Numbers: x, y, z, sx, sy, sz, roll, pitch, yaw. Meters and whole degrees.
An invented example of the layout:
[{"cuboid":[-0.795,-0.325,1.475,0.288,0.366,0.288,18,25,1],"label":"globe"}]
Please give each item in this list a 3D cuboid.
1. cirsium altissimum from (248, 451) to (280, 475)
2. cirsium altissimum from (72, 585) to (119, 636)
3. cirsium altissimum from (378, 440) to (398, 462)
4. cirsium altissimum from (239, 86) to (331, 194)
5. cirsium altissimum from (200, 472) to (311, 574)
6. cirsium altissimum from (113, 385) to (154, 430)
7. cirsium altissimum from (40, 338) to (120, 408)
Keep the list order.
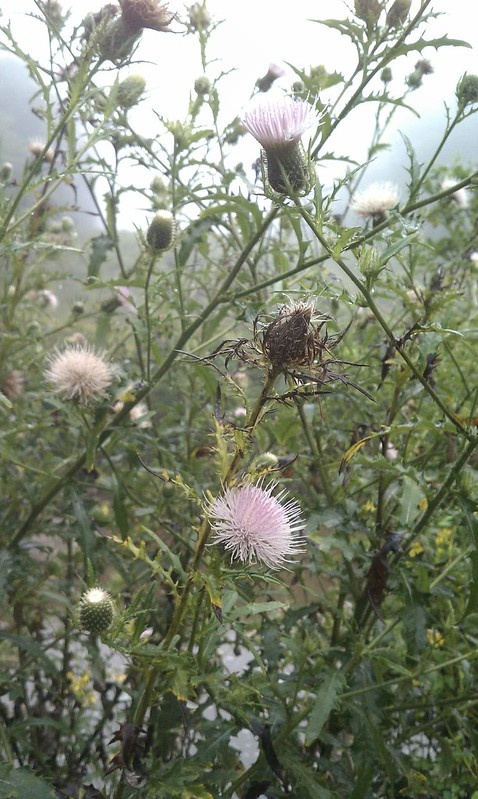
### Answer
[{"cuboid":[0.053,0.129,1.550,0.029,0.033,0.088,54,-2,12],"label":"cirsium altissimum"},{"cuboid":[-0.278,0.417,1.565,0.097,0.093,0.096,-3,2,-26],"label":"cirsium altissimum"},{"cuboid":[0.416,0.152,2.125,0.062,0.047,0.122,0,-15,16],"label":"cirsium altissimum"},{"cuboid":[0.103,-0.535,1.671,0.176,0.201,0.173,-9,10,7],"label":"cirsium altissimum"},{"cuboid":[0.030,0.220,1.452,0.175,0.118,0.172,9,10,3],"label":"cirsium altissimum"},{"cuboid":[-0.296,0.018,2.209,0.061,0.132,0.100,-10,29,-34],"label":"cirsium altissimum"},{"cuboid":[-0.412,-0.063,1.984,0.179,0.144,0.169,-22,57,-30],"label":"cirsium altissimum"}]
